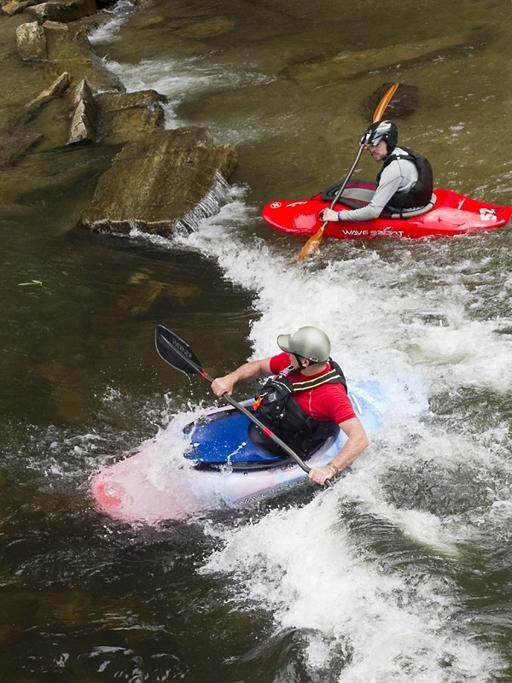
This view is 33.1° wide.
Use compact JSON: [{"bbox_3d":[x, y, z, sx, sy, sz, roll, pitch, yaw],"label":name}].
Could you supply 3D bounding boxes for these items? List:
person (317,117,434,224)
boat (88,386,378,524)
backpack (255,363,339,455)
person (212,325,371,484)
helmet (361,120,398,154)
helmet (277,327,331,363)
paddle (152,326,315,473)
[{"bbox_3d":[1.267,-1.700,8.747,0.993,1.060,0.303,-1,33,7],"label":"person"},{"bbox_3d":[-0.008,1.085,7.060,2.900,0.534,0.783,-16,50,1],"label":"boat"},{"bbox_3d":[0.326,0.531,6.544,0.390,0.618,0.451,33,17,-33],"label":"backpack"},{"bbox_3d":[0.302,0.553,6.856,0.894,1.173,0.849,1,60,-26],"label":"person"},{"bbox_3d":[1.229,-2.036,8.625,0.327,0.340,0.227,-2,31,5],"label":"helmet"},{"bbox_3d":[0.333,0.016,6.377,0.393,0.172,0.250,17,35,5],"label":"helmet"},{"bbox_3d":[-0.201,0.526,7.130,2.119,0.226,0.220,33,12,23],"label":"paddle"}]
